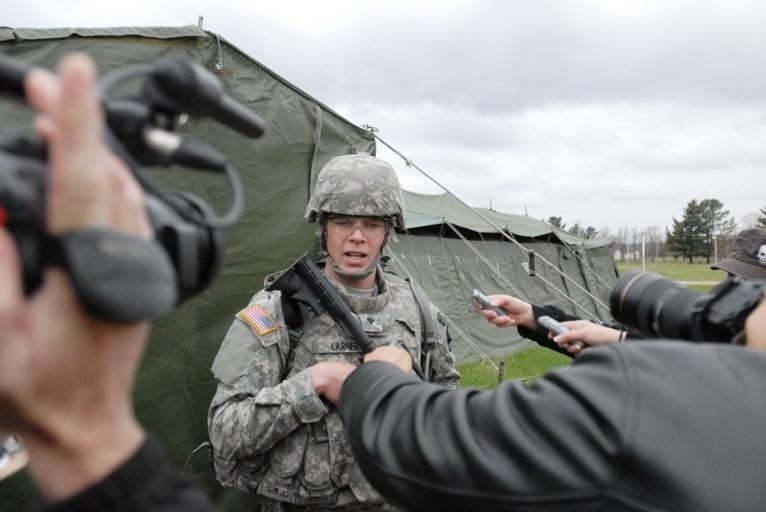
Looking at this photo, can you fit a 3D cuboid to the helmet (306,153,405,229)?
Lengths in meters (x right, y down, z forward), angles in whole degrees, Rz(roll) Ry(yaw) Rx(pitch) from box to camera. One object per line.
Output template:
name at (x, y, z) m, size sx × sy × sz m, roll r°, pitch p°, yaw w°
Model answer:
helmet at (-0.128, -0.314, 2.765) m, size 0.470 × 0.349 × 0.388 m, roll 2°, pitch 5°, yaw 0°

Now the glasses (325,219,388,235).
glasses at (-0.122, -0.135, 2.686) m, size 0.265 × 0.070 × 0.145 m, roll 1°, pitch 5°, yaw -9°
